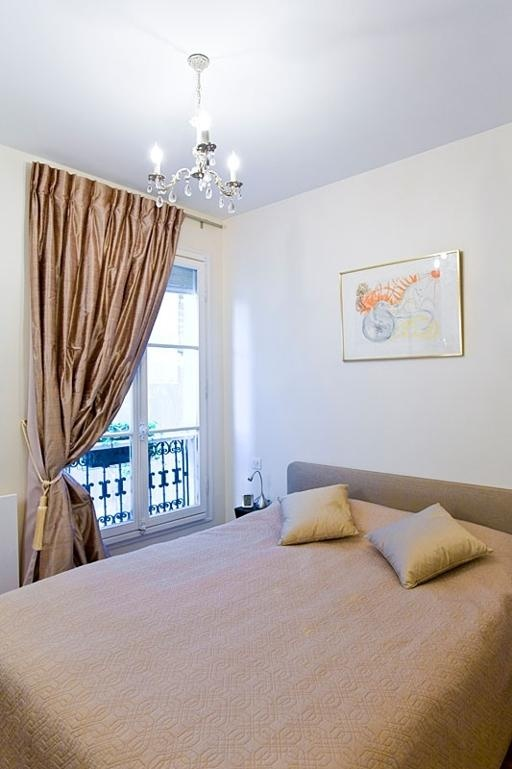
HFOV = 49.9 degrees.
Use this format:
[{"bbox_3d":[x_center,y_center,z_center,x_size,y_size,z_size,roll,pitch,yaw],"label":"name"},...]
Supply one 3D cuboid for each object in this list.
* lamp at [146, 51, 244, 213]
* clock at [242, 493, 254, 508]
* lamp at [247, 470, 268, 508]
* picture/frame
[{"bbox_3d":[-0.205,-0.936,2.022,0.338,0.592,0.373,3,-13,-20],"label":"lamp"},{"bbox_3d":[-0.049,0.752,3.578,0.072,0.088,0.075,0,1,-32],"label":"clock"},{"bbox_3d":[0.028,0.689,3.628,0.175,0.324,0.173,2,-7,-1],"label":"lamp"},{"bbox_3d":[0.781,-0.409,2.864,0.022,0.460,0.563,3,-3,-44],"label":"picture/frame"}]
